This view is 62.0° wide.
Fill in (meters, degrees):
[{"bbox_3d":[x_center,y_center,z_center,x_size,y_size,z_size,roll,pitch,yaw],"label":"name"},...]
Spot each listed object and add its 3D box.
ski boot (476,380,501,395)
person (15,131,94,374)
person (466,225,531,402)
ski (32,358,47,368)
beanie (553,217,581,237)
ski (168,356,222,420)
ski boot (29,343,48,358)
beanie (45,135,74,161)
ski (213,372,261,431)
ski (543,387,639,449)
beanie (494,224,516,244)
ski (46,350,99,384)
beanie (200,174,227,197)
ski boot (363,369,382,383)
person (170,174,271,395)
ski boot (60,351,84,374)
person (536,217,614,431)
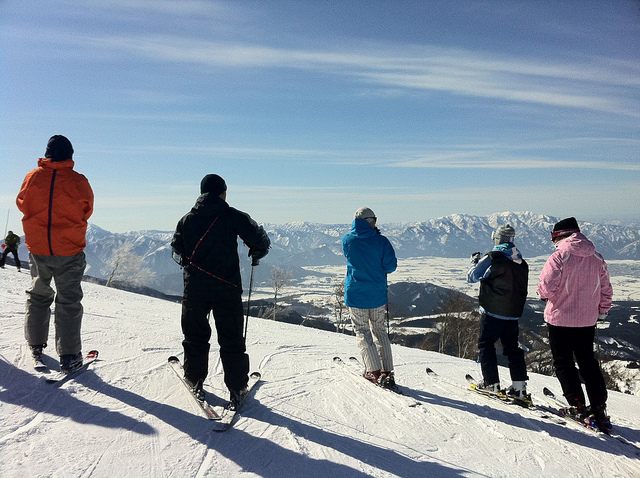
[{"bbox_3d":[2.998,2.611,9.411,0.161,0.191,0.453,7,1,-30],"label":"ski boot"},{"bbox_3d":[-4.155,0.208,8.358,1.030,3.647,0.555,5,3,6],"label":"person"},{"bbox_3d":[3.161,1.257,9.230,1.121,2.527,0.575,6,3,21],"label":"person"},{"bbox_3d":[-4.423,1.954,8.335,0.306,0.127,0.103,-7,-8,38],"label":"ski"},{"bbox_3d":[4.076,-0.187,8.756,0.393,0.288,0.329,6,3,22],"label":"beanie"},{"bbox_3d":[-1.892,2.281,8.005,0.171,0.276,1.146,-14,44,-35],"label":"ski"},{"bbox_3d":[-4.505,1.782,8.462,0.196,0.184,0.207,10,-16,-36],"label":"ski boot"},{"bbox_3d":[-4.069,-1.415,8.295,0.349,0.394,0.209,3,3,-29],"label":"beanie"},{"bbox_3d":[-1.236,2.413,7.800,0.166,0.171,0.975,6,32,9],"label":"ski"},{"bbox_3d":[4.284,2.878,8.452,1.241,0.135,0.138,34,-4,21],"label":"ski"},{"bbox_3d":[3.238,-0.075,9.301,0.386,0.347,0.281,2,15,2],"label":"beanie"},{"bbox_3d":[-3.891,2.052,8.449,0.104,0.088,0.819,8,9,9],"label":"ski"},{"bbox_3d":[-1.581,-0.799,7.889,0.353,0.303,0.240,4,3,-13],"label":"beanie"},{"bbox_3d":[0.928,2.417,9.490,0.111,0.155,0.380,2,4,-41],"label":"ski boot"},{"bbox_3d":[-1.522,0.690,7.862,1.311,3.258,0.517,4,3,-12],"label":"person"},{"bbox_3d":[-3.805,1.930,8.273,0.147,0.299,0.434,0,32,6],"label":"ski boot"},{"bbox_3d":[4.157,1.282,8.593,1.192,3.088,0.597,6,3,23],"label":"person"}]
